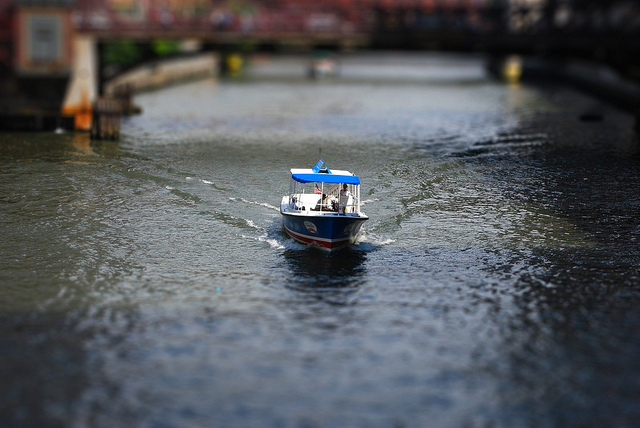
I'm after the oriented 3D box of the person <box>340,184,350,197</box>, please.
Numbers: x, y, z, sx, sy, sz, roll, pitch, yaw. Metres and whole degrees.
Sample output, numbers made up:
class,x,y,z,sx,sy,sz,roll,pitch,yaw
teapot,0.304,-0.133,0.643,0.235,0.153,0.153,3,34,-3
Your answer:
class,x,y,z,sx,sy,sz,roll,pitch,yaw
person,1.480,-1.373,43.814,0.443,0.633,0.339,0,-11,-5

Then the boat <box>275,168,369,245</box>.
class,x,y,z,sx,sy,sz,roll,pitch,yaw
boat,0.033,-0.215,44.043,4.055,3.792,4.724,-7,24,-24

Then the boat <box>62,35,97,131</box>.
class,x,y,z,sx,sy,sz,roll,pitch,yaw
boat,-21.330,-11.592,65.571,2.369,8.190,2.864,4,24,0
